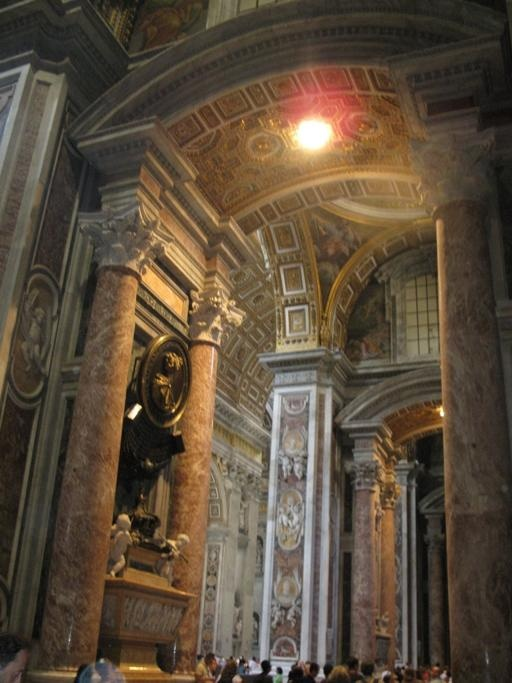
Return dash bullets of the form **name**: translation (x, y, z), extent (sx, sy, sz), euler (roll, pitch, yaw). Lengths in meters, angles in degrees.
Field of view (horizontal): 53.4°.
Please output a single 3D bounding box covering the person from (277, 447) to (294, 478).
- **person**: translation (0.718, 2.965, 12.368), extent (0.397, 1.027, 0.232), euler (-9, -34, 10)
